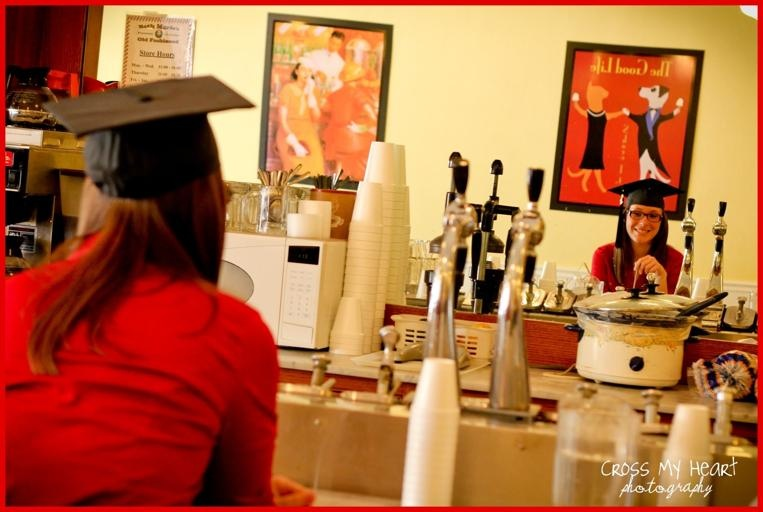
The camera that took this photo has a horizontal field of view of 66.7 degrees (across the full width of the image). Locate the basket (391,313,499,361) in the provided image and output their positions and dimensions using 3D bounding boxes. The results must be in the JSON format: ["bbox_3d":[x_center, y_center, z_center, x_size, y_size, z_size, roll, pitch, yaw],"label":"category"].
[{"bbox_3d":[0.222,0.308,2.185,0.391,0.153,0.180,6,2,6],"label":"basket"}]

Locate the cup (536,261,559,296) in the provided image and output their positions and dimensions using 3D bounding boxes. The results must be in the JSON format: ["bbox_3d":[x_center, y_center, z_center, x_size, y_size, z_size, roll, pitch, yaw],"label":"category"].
[{"bbox_3d":[0.667,0.085,2.334,0.078,0.125,0.035,7,2,8],"label":"cup"}]

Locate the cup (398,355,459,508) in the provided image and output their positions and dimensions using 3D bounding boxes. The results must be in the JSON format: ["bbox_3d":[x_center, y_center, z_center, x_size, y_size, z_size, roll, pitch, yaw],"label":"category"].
[{"bbox_3d":[0.096,0.330,1.086,0.091,0.252,0.079,7,2,4],"label":"cup"}]

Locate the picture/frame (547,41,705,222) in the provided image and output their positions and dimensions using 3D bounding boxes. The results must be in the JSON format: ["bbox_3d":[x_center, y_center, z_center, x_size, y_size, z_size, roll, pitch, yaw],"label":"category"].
[{"bbox_3d":[1.012,-0.479,2.350,0.751,0.884,0.037,5,-4,10],"label":"picture/frame"}]

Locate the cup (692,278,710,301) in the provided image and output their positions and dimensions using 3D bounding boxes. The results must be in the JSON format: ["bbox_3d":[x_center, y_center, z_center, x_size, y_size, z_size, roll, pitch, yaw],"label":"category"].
[{"bbox_3d":[1.237,0.126,2.247,0.058,0.096,0.032,7,2,9],"label":"cup"}]

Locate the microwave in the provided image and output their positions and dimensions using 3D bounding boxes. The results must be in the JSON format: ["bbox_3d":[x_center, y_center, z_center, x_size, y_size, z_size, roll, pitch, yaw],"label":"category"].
[{"bbox_3d":[-0.362,0.114,2.315,0.459,0.432,0.363,0,7,12],"label":"microwave"}]

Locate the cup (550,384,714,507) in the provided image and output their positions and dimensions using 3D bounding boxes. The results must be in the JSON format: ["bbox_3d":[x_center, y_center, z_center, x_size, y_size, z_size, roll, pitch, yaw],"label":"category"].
[{"bbox_3d":[0.451,0.352,1.055,0.379,0.208,0.176,5,2,-37],"label":"cup"}]

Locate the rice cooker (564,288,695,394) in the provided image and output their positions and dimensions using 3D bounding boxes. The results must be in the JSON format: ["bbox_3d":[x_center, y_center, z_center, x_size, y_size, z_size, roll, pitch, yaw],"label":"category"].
[{"bbox_3d":[0.835,0.276,1.938,0.366,0.328,0.177,7,2,19],"label":"rice cooker"}]
